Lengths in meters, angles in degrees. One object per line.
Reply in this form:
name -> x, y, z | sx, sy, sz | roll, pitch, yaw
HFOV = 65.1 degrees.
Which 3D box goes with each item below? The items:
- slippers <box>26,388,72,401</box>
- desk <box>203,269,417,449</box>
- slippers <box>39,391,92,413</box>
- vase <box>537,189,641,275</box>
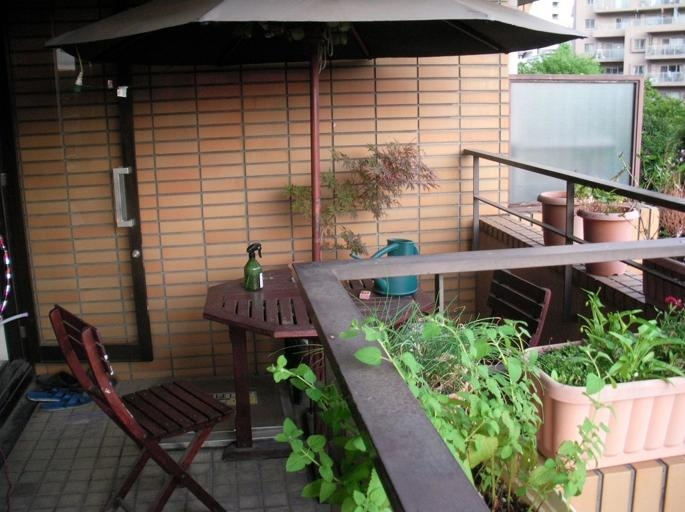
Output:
slippers -> -2.204, 1.035, 4.011 | 0.303, 0.083, 0.091 | 7, 7, -18
desk -> -0.310, 0.653, 3.556 | 1.471, 0.727, 1.284 | -1, 13, -7
slippers -> -2.039, 1.070, 3.963 | 0.460, 0.112, 0.241 | 0, 4, -21
vase -> 1.450, -0.198, 3.283 | 0.742, 0.410, 0.639 | -1, 7, 0
